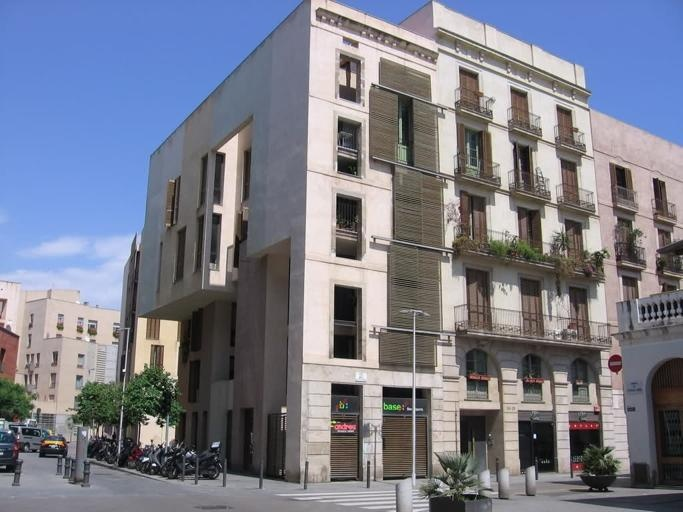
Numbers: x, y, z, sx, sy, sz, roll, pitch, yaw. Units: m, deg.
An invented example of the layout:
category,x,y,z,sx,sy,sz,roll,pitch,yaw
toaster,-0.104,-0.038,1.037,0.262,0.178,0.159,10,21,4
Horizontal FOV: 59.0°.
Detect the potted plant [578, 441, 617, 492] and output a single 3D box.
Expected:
category,x,y,z,sx,sy,sz,roll,pitch,yaw
potted plant,11.324,9.054,26.123,1.799,2.213,1.807,1,-12,2
